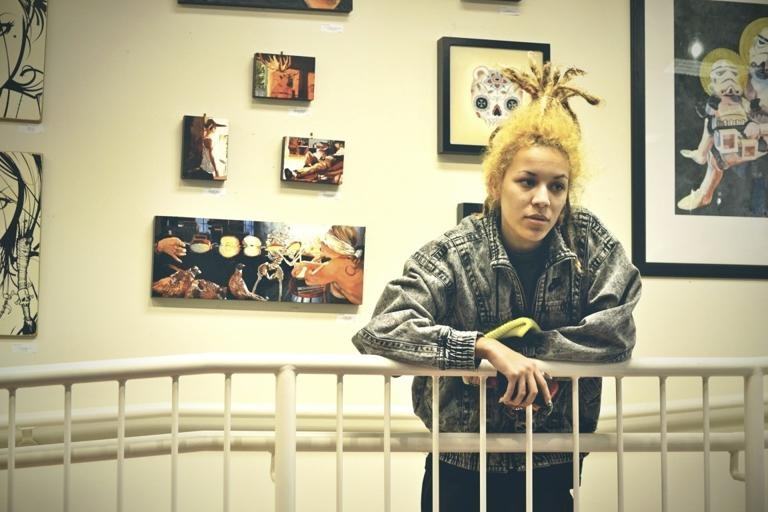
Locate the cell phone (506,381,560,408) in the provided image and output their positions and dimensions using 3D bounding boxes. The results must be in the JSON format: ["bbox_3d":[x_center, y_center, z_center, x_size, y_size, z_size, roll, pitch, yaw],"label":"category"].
[{"bbox_3d":[0.595,0.546,3.114,0.139,0.134,0.045,4,17,-35],"label":"cell phone"}]

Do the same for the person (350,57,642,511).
[{"bbox_3d":[0.463,0.138,3.084,0.983,1.783,0.408,2,-1,14],"label":"person"}]

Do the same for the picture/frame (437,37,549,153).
[{"bbox_3d":[0.544,-0.776,3.917,0.540,0.509,0.044,6,12,25],"label":"picture/frame"}]
